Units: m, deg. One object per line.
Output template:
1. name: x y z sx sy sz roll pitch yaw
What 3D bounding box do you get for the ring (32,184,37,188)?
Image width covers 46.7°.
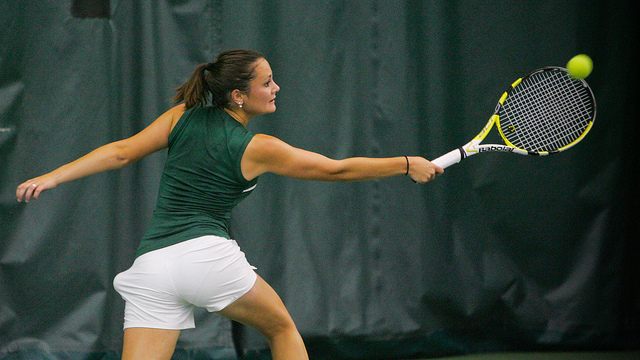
1. ring: -1.984 0.045 5.127 0.026 0.022 0.006 4 -11 -8

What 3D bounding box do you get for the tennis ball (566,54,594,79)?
1. tennis ball: 1.981 -0.848 5.647 0.140 0.177 0.127 -2 25 -26

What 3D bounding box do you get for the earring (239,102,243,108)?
1. earring: -0.559 -0.523 5.212 0.028 0.040 0.011 -4 27 -29
